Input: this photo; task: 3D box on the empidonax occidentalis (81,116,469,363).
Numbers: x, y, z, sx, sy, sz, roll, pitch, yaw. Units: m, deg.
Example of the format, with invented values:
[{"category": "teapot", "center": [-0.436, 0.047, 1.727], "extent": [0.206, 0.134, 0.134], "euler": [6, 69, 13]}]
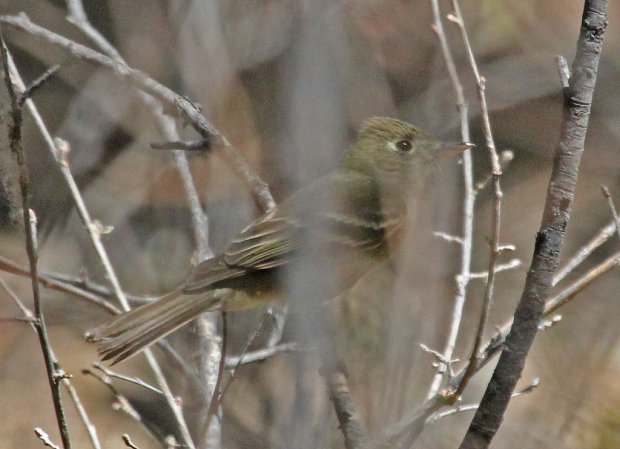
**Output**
[{"category": "empidonax occidentalis", "center": [0.005, -0.012, 2.178], "extent": [1.216, 0.377, 0.609], "euler": [-9, -80, -16]}]
